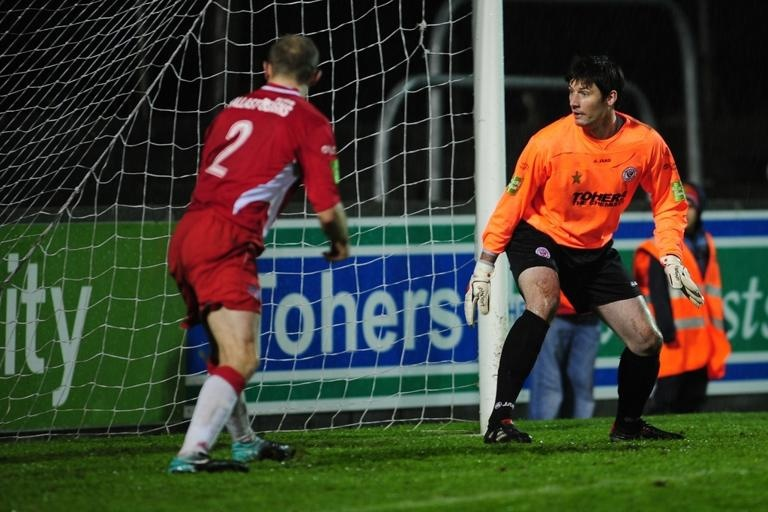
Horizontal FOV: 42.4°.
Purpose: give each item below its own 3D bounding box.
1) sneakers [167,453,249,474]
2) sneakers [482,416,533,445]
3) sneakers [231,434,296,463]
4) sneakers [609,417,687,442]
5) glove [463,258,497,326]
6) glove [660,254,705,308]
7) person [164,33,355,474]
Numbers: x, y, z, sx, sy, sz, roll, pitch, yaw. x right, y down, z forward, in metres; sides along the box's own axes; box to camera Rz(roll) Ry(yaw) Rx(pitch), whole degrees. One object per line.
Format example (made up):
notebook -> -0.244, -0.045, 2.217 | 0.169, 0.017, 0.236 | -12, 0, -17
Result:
sneakers -> -1.085, 1.268, 6.056 | 0.446, 0.176, 0.166 | -3, -3, -6
sneakers -> 0.821, 1.180, 6.699 | 0.272, 0.131, 0.156 | -1, -1, 19
sneakers -> -0.799, 1.269, 6.506 | 0.440, 0.200, 0.156 | -2, 2, -20
sneakers -> 1.866, 1.213, 6.907 | 0.536, 0.212, 0.191 | -1, -3, -7
glove -> 0.680, 0.261, 6.753 | 0.136, 0.415, 0.243 | 20, -26, -40
glove -> 2.029, 0.172, 6.734 | 0.269, 0.126, 0.498 | 16, 24, -18
person -> -0.841, -0.027, 6.221 | 1.150, 2.673, 0.499 | -4, 7, -15
